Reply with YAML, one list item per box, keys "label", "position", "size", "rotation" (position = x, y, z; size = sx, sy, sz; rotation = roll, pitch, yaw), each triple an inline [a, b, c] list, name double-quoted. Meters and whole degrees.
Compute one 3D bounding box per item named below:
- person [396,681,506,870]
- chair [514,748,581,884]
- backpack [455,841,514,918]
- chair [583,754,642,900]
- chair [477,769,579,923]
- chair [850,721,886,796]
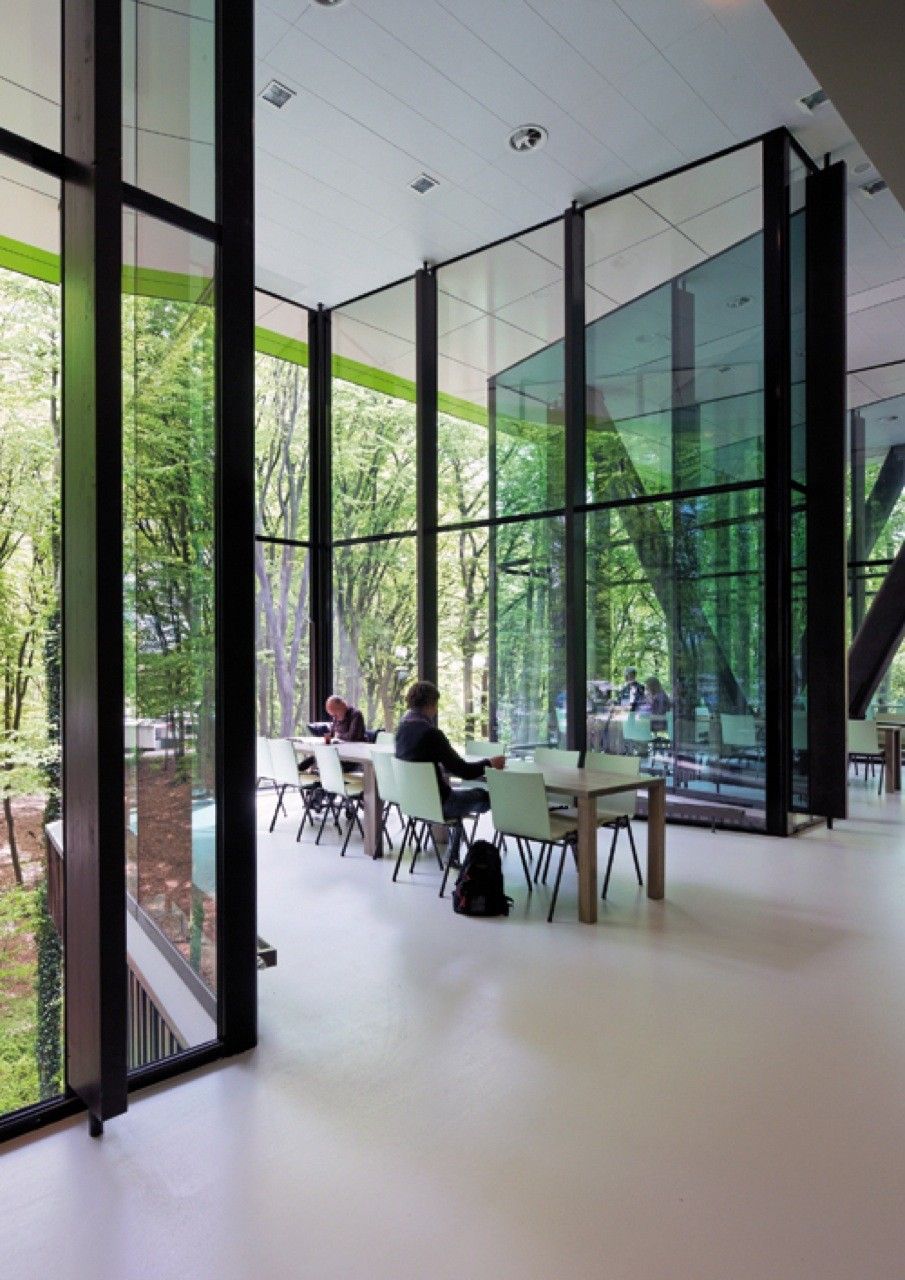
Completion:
- label: "person"
  position: [-0.005, 0.833, 5.898]
  size: [0.636, 1.228, 0.583]
  rotation: [-7, 4, -35]
- label: "chair"
  position: [0.444, 0.961, 5.085]
  size: [0.343, 0.695, 0.420]
  rotation: [2, 13, 29]
- label: "backpack"
  position: [0.154, 1.207, 4.955]
  size: [0.286, 0.351, 0.280]
  rotation: [-1, 0, -6]
- label: "chair"
  position: [0.863, 1.072, 5.503]
  size: [0.431, 0.624, 0.422]
  rotation: [-5, -9, -5]
- label: "chair"
  position: [0.440, 1.046, 5.119]
  size: [0.418, 0.789, 0.500]
  rotation: [2, 5, 31]
- label: "chair"
  position: [4.055, 1.071, 9.599]
  size: [0.295, 0.723, 1.968]
  rotation: [-1, 0, 23]
